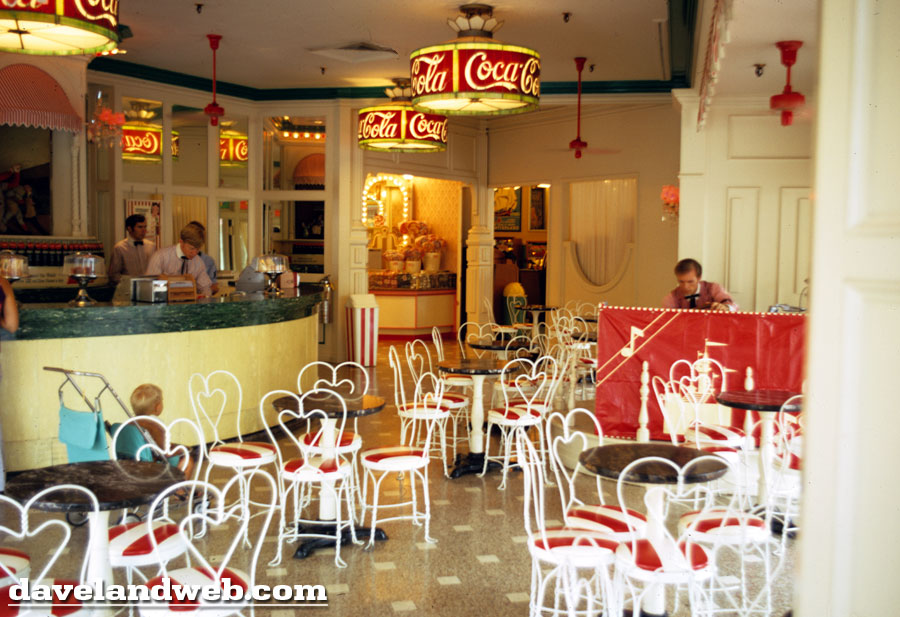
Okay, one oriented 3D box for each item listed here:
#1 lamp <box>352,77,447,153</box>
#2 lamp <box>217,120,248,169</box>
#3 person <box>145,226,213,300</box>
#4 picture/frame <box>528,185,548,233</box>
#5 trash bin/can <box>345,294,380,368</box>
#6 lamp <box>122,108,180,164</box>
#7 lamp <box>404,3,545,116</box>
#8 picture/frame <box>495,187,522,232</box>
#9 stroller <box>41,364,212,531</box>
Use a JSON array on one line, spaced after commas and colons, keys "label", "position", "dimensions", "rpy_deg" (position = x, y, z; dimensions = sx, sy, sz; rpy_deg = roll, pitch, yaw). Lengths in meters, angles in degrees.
[{"label": "lamp", "position": [-0.548, -2.091, 8.984], "dimensions": [1.039, 0.699, 1.022], "rpy_deg": [-3, 6, -40]}, {"label": "lamp", "position": [-3.043, -2.302, 11.706], "dimensions": [0.357, 0.484, 0.360], "rpy_deg": [1, 8, 4]}, {"label": "person", "position": [-2.604, -0.451, 7.929], "dimensions": [0.592, 0.726, 1.268], "rpy_deg": [1, 0, -16]}, {"label": "picture/frame", "position": [1.740, -1.989, 16.244], "dimensions": [0.335, 0.730, 0.071], "rpy_deg": [5, 12, 22]}, {"label": "trash bin/can", "position": [-1.269, 0.326, 11.741], "dimensions": [0.393, 0.993, 0.412], "rpy_deg": [7, 8, 40]}, {"label": "lamp", "position": [-4.031, -2.347, 10.901], "dimensions": [0.738, 0.737, 0.747], "rpy_deg": [3, 13, 30]}, {"label": "lamp", "position": [0.335, -2.204, 6.829], "dimensions": [1.074, 0.799, 1.093], "rpy_deg": [2, 4, 23]}, {"label": "picture/frame", "position": [1.159, -1.941, 16.058], "dimensions": [0.851, 1.022, 0.074], "rpy_deg": [1, 0, 5]}, {"label": "stroller", "position": [-2.108, 0.875, 5.396], "dimensions": [0.561, 0.906, 1.033], "rpy_deg": [0, -1, 34]}]
